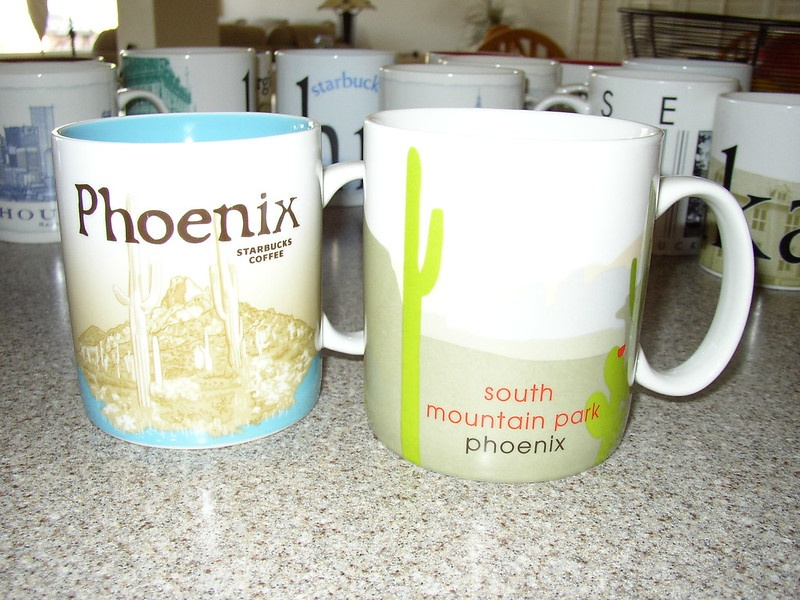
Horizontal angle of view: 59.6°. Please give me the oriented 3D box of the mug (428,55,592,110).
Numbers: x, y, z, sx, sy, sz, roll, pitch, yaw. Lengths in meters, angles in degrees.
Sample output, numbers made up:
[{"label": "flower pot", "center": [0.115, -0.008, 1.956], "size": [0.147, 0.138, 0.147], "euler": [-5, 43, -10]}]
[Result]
[{"label": "mug", "center": [0.141, -0.285, 0.887], "size": [0.183, 0.075, 0.117], "euler": [-1, 21, 5]}]

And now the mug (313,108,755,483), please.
[{"label": "mug", "center": [0.077, -0.016, 0.424], "size": [0.224, 0.183, 0.156], "euler": [-9, 26, -24]}]

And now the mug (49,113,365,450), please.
[{"label": "mug", "center": [-0.087, -0.025, 0.467], "size": [0.239, 0.176, 0.150], "euler": [-7, 17, -26]}]

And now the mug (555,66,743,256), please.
[{"label": "mug", "center": [0.331, -0.135, 0.780], "size": [0.124, 0.180, 0.207], "euler": [4, 4, -7]}]

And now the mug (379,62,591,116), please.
[{"label": "mug", "center": [0.080, -0.217, 0.715], "size": [0.186, 0.074, 0.117], "euler": [-5, 22, -15]}]
